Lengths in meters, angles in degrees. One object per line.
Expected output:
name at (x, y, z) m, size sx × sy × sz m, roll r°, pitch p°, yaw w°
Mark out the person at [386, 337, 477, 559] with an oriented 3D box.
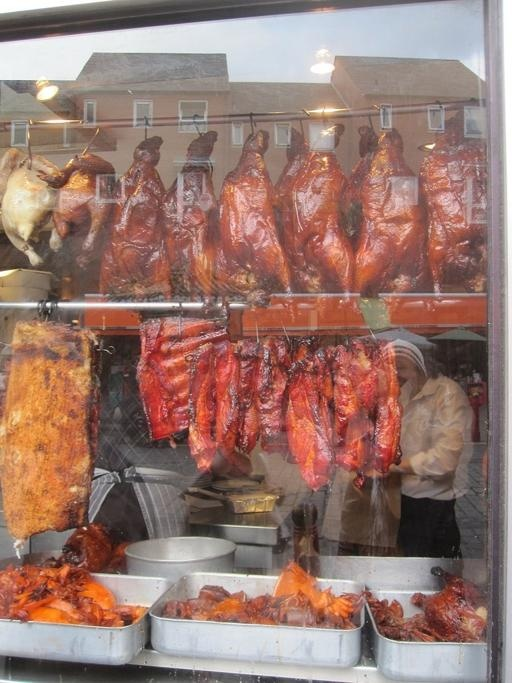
person at (0.528, 0.349, 1.864) m, size 0.145 × 0.728 × 0.360 m, roll -6°, pitch 7°, yaw -17°
